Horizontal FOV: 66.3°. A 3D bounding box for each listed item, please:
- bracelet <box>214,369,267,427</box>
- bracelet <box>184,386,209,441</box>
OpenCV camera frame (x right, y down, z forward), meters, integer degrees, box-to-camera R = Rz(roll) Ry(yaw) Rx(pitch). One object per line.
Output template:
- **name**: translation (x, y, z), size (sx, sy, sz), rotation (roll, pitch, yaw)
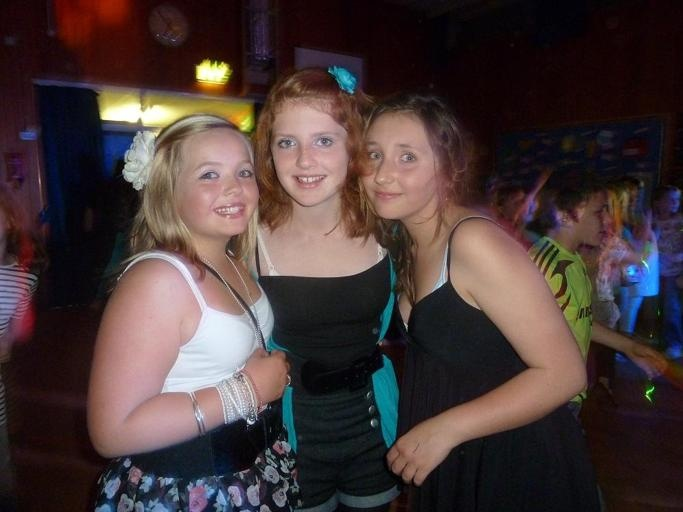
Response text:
- **bracelet**: translation (-0.473, 0.653, 2.400), size (0.106, 0.181, 0.233), rotation (-21, -29, 0)
- **bracelet**: translation (-0.638, 0.705, 2.332), size (0.036, 0.149, 0.147), rotation (-16, 4, -19)
